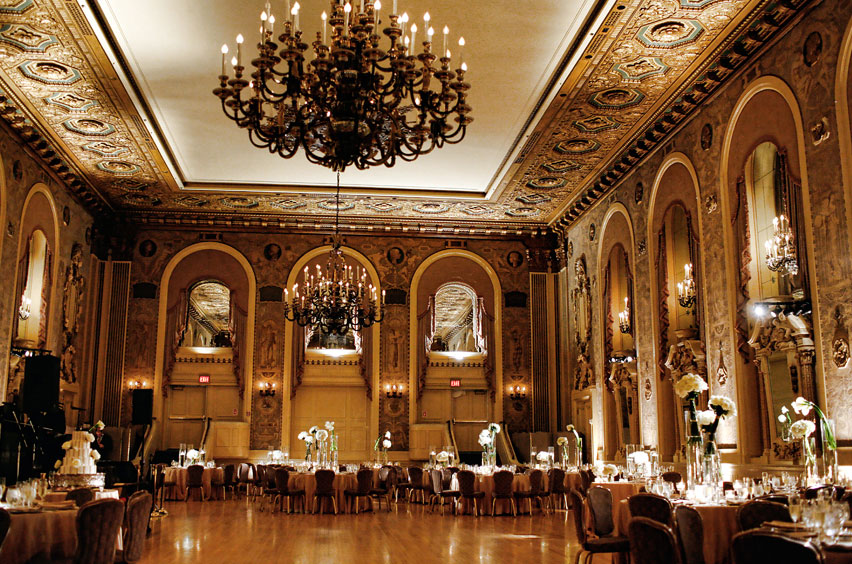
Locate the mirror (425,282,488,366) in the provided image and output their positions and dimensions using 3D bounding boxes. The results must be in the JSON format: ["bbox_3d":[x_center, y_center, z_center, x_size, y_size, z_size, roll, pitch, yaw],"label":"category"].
[{"bbox_3d":[1.014,1.419,20.816,2.411,3.392,0.436,1,-14,-7],"label":"mirror"}]

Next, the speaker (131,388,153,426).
[{"bbox_3d":[-6.707,2.926,15.404,0.410,0.887,0.682,14,-25,-33],"label":"speaker"}]

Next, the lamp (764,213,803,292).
[{"bbox_3d":[5.990,-0.529,10.943,0.479,1.331,0.953,-12,-24,30],"label":"lamp"}]

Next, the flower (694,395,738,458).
[{"bbox_3d":[3.652,1.830,8.194,0.452,0.657,0.716,-9,-23,23],"label":"flower"}]

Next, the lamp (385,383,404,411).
[{"bbox_3d":[-0.966,3.584,19.953,0.732,0.959,0.280,1,-8,-11],"label":"lamp"}]

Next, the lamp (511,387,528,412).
[{"bbox_3d":[2.910,3.709,20.217,0.649,0.916,0.276,1,-12,-6],"label":"lamp"}]

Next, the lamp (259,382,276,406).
[{"bbox_3d":[-4.735,3.398,19.594,0.522,0.666,0.209,6,-21,-15],"label":"lamp"}]

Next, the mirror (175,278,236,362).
[{"bbox_3d":[-6.670,1.118,20.100,1.589,2.191,0.673,2,-21,-3],"label":"mirror"}]

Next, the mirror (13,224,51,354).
[{"bbox_3d":[-9.350,0.254,15.641,0.500,2.939,1.411,7,-22,-16],"label":"mirror"}]

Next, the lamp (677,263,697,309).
[{"bbox_3d":[5.486,0.099,13.682,0.265,0.863,0.548,-2,-21,7],"label":"lamp"}]
